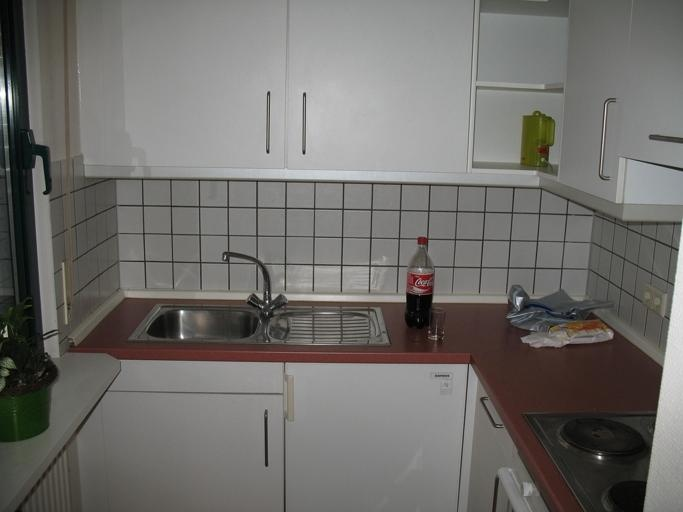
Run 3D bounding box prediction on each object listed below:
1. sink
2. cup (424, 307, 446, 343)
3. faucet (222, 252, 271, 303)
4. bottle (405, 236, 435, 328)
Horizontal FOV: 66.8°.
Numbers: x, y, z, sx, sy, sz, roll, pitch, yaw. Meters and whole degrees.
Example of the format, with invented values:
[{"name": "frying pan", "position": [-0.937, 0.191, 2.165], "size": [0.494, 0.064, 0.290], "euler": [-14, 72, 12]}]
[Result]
[{"name": "sink", "position": [-0.623, 0.334, 2.293], "size": [0.531, 0.153, 0.413], "euler": [-3, 12, -10]}, {"name": "cup", "position": [0.390, 0.281, 2.155], "size": [0.070, 0.126, 0.073], "euler": [-1, 12, 0]}, {"name": "faucet", "position": [-0.436, 0.082, 2.416], "size": [0.220, 0.272, 0.288], "euler": [-3, 12, -12]}, {"name": "bottle", "position": [0.341, 0.109, 2.266], "size": [0.119, 0.387, 0.229], "euler": [1, 12, 7]}]
